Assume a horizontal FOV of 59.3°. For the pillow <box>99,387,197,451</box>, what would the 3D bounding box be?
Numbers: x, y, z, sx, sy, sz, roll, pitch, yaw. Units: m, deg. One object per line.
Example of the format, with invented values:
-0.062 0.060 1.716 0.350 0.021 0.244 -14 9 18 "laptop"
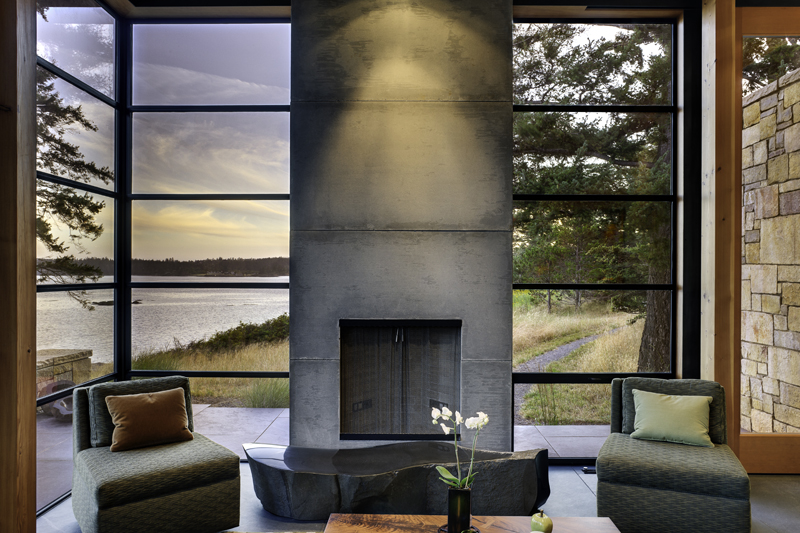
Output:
-2.419 1.438 6.623 0.559 0.386 0.210 -2 -39 -32 "pillow"
